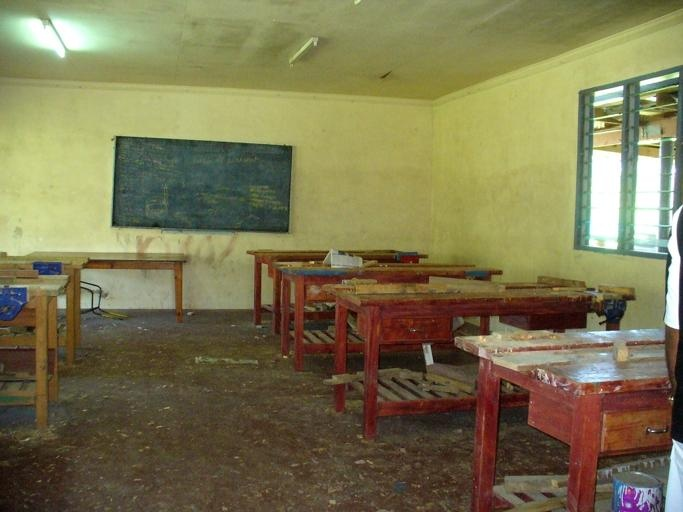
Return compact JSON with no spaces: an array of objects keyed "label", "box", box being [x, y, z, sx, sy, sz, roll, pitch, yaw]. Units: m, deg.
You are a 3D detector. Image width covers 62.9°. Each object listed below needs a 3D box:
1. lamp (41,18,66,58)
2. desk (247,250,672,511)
[{"label":"lamp","box":[-3.034,-2.294,5.886,0.122,0.052,0.658,-4,-4,-13]},{"label":"desk","box":[1.001,0.849,3.884,1.398,1.108,2.586,-5,11,-32]}]
